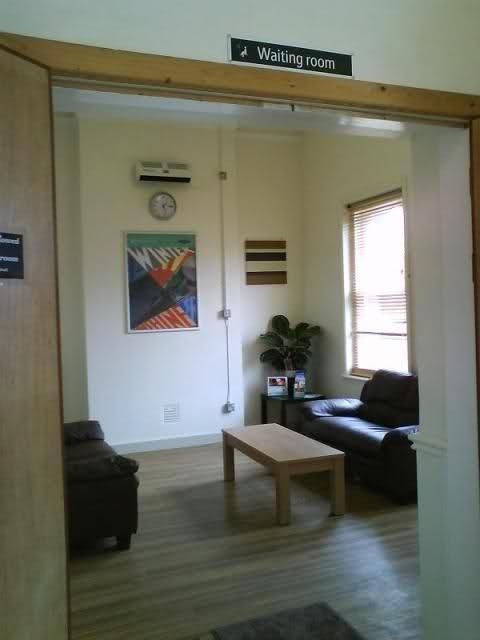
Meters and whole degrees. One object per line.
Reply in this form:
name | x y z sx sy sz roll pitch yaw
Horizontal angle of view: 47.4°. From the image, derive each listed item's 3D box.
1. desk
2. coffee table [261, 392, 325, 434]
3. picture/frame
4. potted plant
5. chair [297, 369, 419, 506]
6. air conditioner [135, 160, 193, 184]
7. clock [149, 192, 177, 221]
desk | 0.247 0.933 3.427 0.473 0.390 0.996 -2 4 -19
coffee table | 0.455 0.764 4.976 0.381 0.415 0.402 -1 2 -22
picture/frame | -0.703 -0.310 4.645 0.810 1.123 0.078 -3 4 -22
potted plant | 0.434 0.356 4.991 0.491 0.724 0.556 -2 -2 12
chair | 0.988 0.767 3.848 0.657 0.758 1.398 1 -2 -18
air conditioner | -0.648 -1.261 4.600 0.460 0.181 0.151 -2 3 -16
clock | -0.656 -0.959 4.625 0.229 0.236 0.054 -9 6 -23
